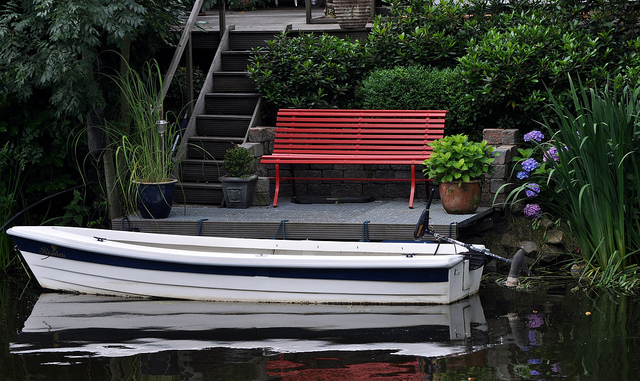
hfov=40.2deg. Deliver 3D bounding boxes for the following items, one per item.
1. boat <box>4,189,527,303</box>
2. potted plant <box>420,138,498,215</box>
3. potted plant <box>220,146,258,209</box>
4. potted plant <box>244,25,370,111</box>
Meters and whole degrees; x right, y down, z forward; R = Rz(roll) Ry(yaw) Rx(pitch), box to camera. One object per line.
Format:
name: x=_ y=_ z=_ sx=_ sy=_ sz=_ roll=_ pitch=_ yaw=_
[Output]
boat: x=-1.830 y=0.478 z=12.240 sx=9.058 sy=1.509 sz=2.316 roll=0 pitch=1 yaw=5
potted plant: x=2.055 y=-0.160 z=12.719 sx=1.037 sy=0.999 sz=0.912 roll=-1 pitch=-5 yaw=24
potted plant: x=-1.467 y=-0.146 z=13.180 sx=0.639 sy=0.903 sz=0.678 roll=-4 pitch=-4 yaw=32
potted plant: x=-0.254 y=-1.969 z=14.858 sx=1.747 sy=0.985 sz=1.598 roll=-2 pitch=4 yaw=-4
